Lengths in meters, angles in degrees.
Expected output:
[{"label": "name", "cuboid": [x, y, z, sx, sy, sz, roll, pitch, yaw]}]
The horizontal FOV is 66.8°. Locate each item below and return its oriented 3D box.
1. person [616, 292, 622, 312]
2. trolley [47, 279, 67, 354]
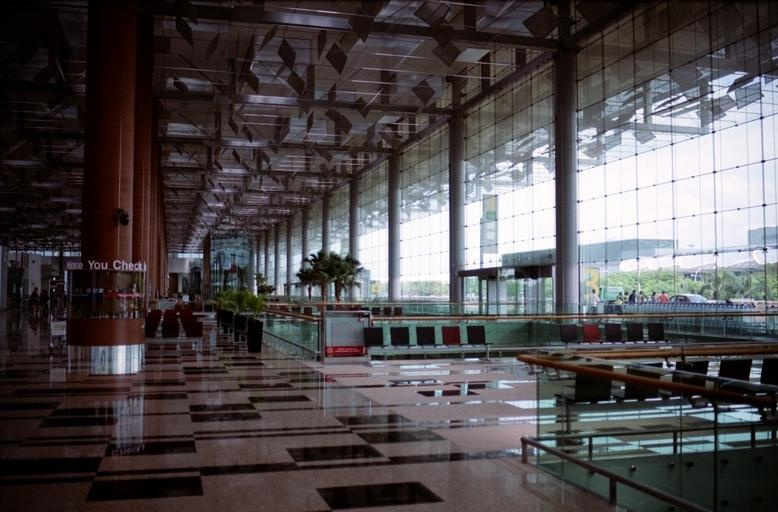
[{"label": "person", "cuboid": [9.453, 1.813, 24.151, 0.292, 0.761, 0.738, 0, 1, 21]}, {"label": "trolley", "cuboid": [-22.553, 3.366, 40.300, 0.897, 3.553, 0.902, -13, -32, -2]}]
